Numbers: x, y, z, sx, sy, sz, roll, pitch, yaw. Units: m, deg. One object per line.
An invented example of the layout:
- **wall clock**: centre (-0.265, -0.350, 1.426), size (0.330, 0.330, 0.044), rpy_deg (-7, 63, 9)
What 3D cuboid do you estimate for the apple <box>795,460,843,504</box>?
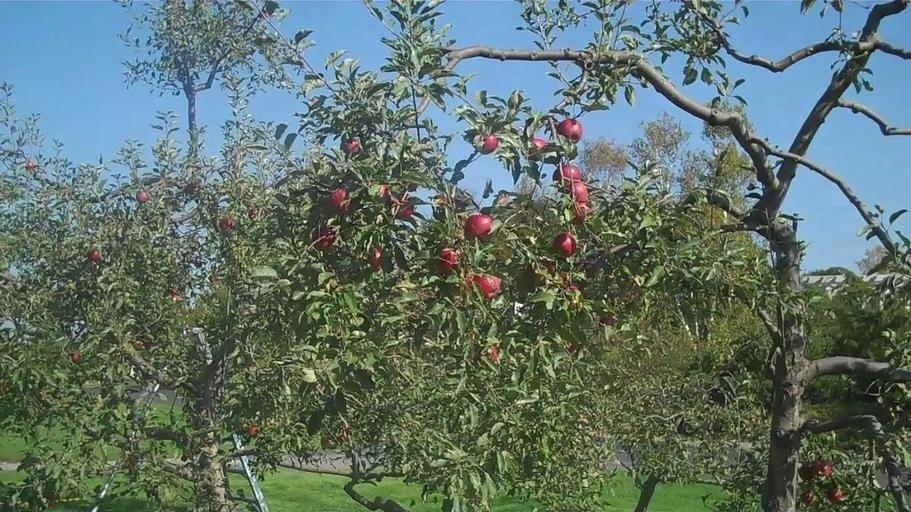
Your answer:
- **apple**: centre (3.773, 2.327, 8.070), size (0.439, 0.439, 0.200), rpy_deg (0, -20, 11)
